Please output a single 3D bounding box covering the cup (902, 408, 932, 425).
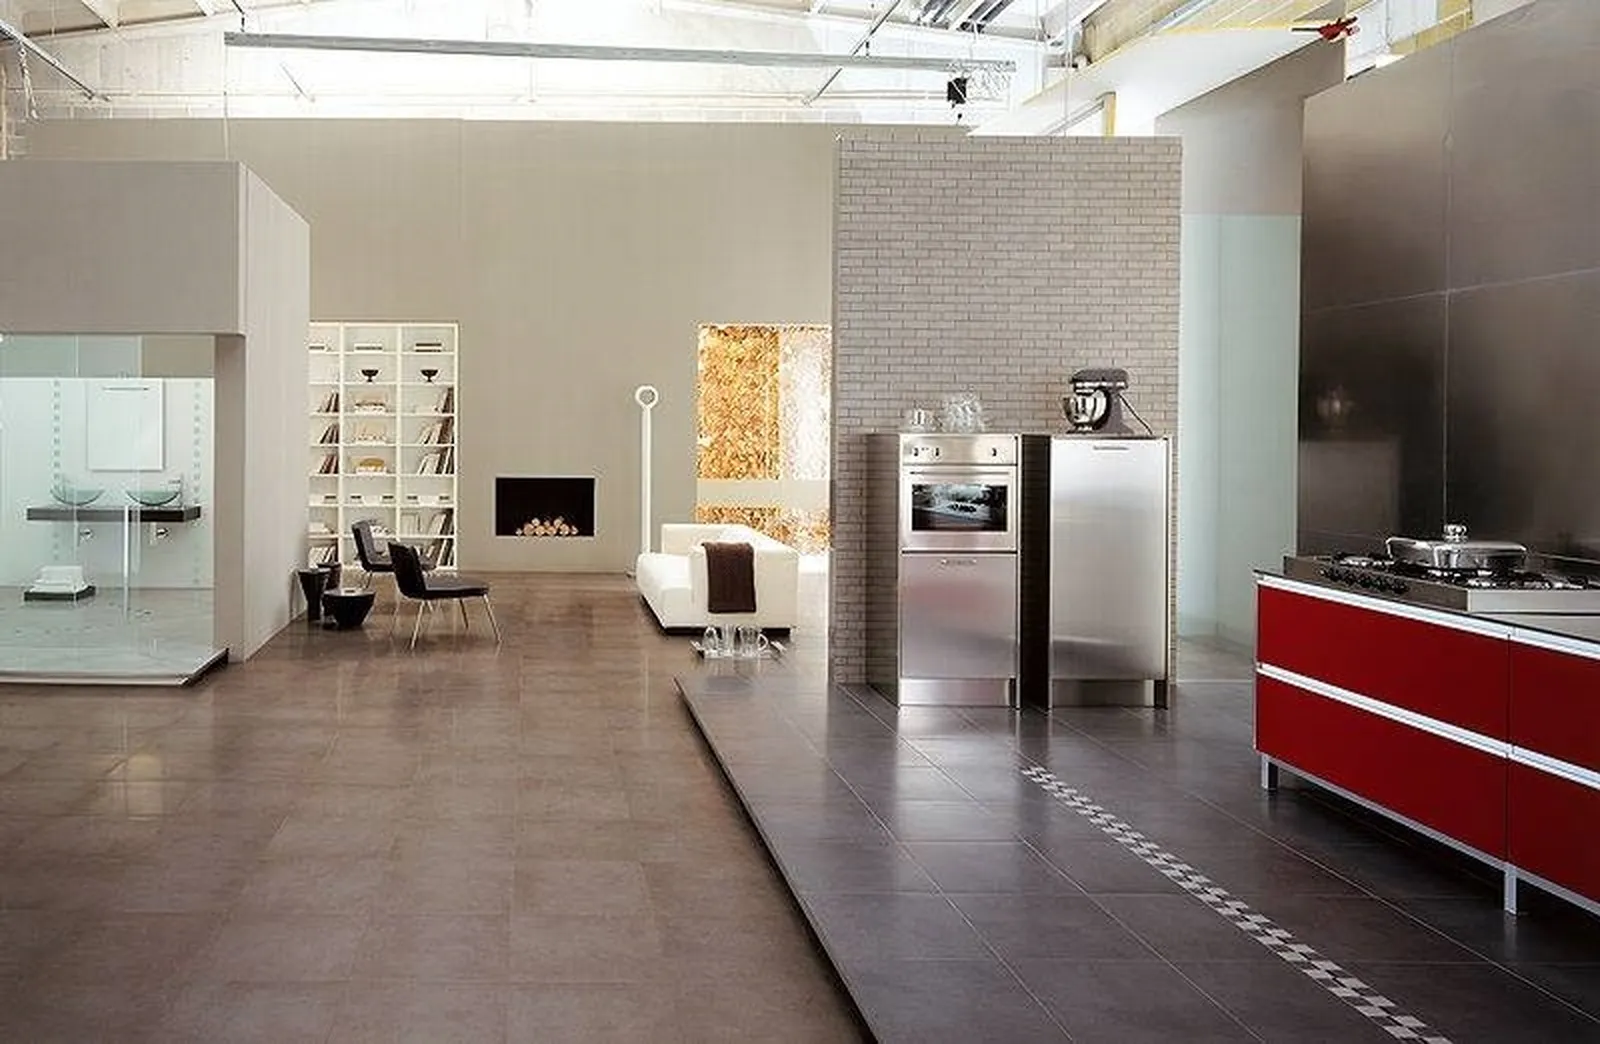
[{"bbox_3d":[0.847,-0.764,8.231,0.159,0.174,0.155,0,-5,0],"label":"cup"}]

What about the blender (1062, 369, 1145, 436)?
[{"bbox_3d":[2.173,-0.872,8.071,0.655,0.464,0.297,-1,10,2],"label":"blender"}]

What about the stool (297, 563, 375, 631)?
[{"bbox_3d":[-4.604,0.751,11.319,0.505,0.484,0.891,1,-4,-43],"label":"stool"}]

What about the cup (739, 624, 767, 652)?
[{"bbox_3d":[-0.417,1.025,10.238,0.234,0.165,0.559,-1,5,-1],"label":"cup"}]

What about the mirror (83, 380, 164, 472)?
[{"bbox_3d":[-5.475,-0.795,9.161,0.781,0.977,0.098,-1,0,-33],"label":"mirror"}]

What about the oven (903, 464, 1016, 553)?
[{"bbox_3d":[1.270,-0.109,8.124,0.985,0.632,0.558,0,-1,36],"label":"oven"}]
